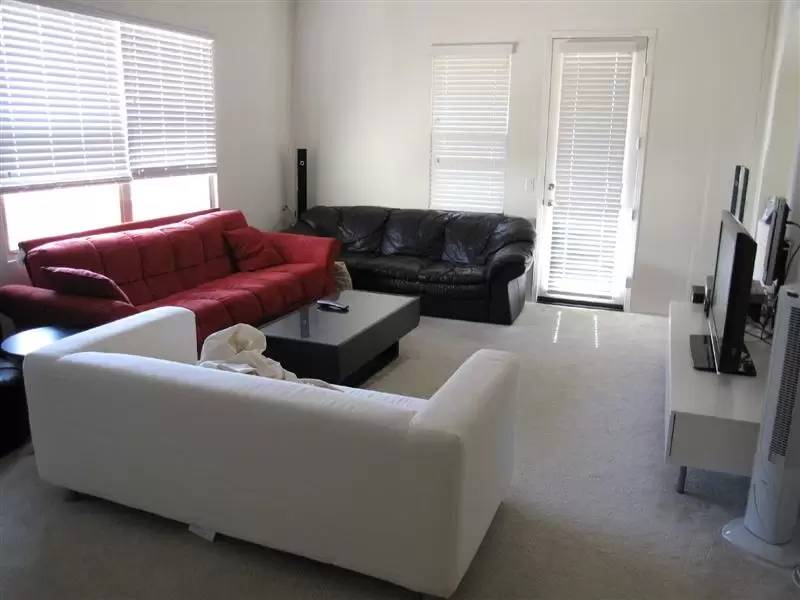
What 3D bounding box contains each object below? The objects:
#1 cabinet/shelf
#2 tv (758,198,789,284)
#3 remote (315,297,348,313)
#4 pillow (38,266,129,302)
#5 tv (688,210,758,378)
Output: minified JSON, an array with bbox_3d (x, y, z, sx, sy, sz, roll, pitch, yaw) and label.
[{"bbox_3d":[1.686,0.536,3.155,0.282,0.335,0.920,5,26,19],"label":"cabinet/shelf"},{"bbox_3d":[2.529,-0.394,4.031,0.087,0.476,0.638,5,21,26],"label":"tv"},{"bbox_3d":[-0.526,0.038,4.607,0.209,0.054,0.116,3,16,38],"label":"remote"},{"bbox_3d":[-2.028,-0.102,3.872,0.302,0.096,0.304,20,3,38],"label":"pillow"},{"bbox_3d":[2.069,-0.053,3.806,0.329,0.807,1.065,0,19,25],"label":"tv"}]
